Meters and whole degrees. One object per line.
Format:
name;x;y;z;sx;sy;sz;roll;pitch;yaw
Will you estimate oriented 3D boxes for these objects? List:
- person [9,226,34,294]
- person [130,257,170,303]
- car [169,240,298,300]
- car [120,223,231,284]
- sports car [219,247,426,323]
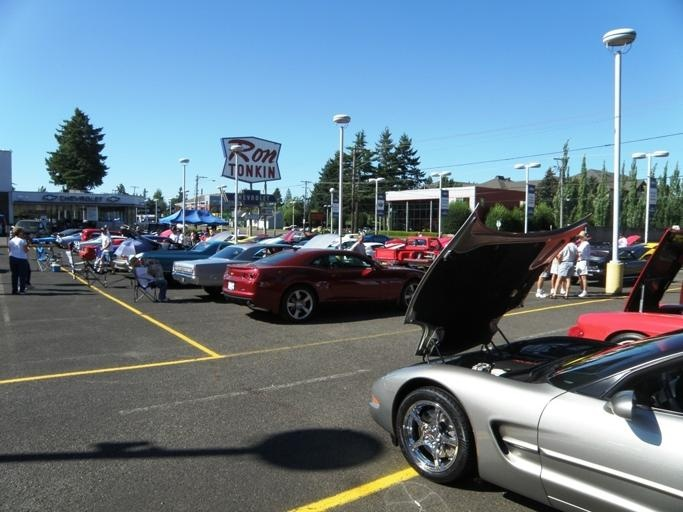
person;-8.414;0.093;15.140;0.438;1.738;1.192;-4;10;-29
person;-4.624;0.571;14.014;0.720;0.981;0.815;-2;9;-19
car;-2.702;0.367;15.036;2.902;0.746;1.323;-8;9;-33
car;-4.776;-0.044;17.036;2.994;0.854;1.350;-1;-1;-28
sports car;-0.336;0.443;11.934;3.635;1.009;1.744;-5;5;-25
